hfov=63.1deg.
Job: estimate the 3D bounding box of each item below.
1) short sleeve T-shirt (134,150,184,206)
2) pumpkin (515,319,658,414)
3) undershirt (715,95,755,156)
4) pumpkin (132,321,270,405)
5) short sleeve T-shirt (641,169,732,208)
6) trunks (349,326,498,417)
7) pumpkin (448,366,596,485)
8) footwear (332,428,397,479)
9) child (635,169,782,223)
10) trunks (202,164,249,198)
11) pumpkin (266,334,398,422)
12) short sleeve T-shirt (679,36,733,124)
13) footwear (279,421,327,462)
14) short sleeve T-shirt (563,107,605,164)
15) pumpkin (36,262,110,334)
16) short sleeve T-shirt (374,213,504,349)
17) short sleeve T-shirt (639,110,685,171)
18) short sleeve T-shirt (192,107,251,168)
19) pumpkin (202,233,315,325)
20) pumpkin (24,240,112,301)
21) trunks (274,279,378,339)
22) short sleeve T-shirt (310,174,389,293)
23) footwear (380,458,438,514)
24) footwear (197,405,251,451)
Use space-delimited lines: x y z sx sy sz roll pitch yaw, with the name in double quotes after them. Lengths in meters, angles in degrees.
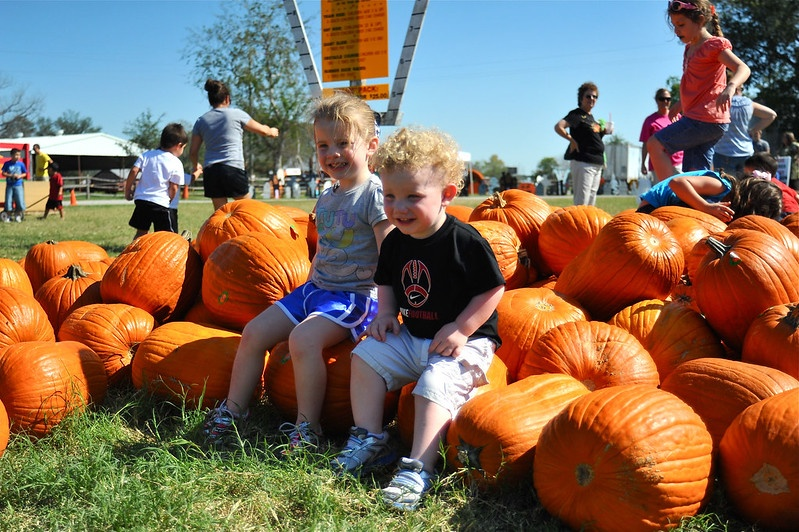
-3.151 -1.143 8.531 0.597 0.755 0.356 1 6 -25 "short sleeve T-shirt"
1.225 0.601 4.151 0.500 0.297 0.544 23 -26 -12 "pumpkin"
5.003 -2.112 9.460 0.537 0.802 0.445 7 14 40 "undershirt"
-1.449 0.567 4.563 0.677 0.637 0.523 4 8 4 "pumpkin"
2.674 -0.685 6.085 0.485 0.200 0.369 -5 3 32 "short sleeve T-shirt"
0.218 0.596 3.918 0.553 0.277 0.518 2 11 -40 "trunks"
0.714 0.888 3.774 0.778 0.457 0.379 -21 -21 -32 "pumpkin"
-0.238 1.120 3.883 0.186 0.283 0.524 -14 -8 40 "footwear"
2.799 -0.648 5.866 0.905 0.363 0.690 12 -3 44 "child"
-2.334 -1.163 8.645 0.631 0.513 0.447 -4 22 -11 "trunks"
-0.492 0.864 4.439 0.524 0.649 0.608 -13 -14 21 "pumpkin"
3.111 -1.895 6.643 0.494 0.853 0.518 7 7 28 "short sleeve T-shirt"
-0.608 1.084 3.992 0.268 0.197 0.602 3 6 -10 "footwear"
2.736 -1.878 9.632 0.877 0.900 0.559 1 0 -42 "short sleeve T-shirt"
-2.728 0.224 5.503 0.540 0.547 0.547 -17 14 -28 "pumpkin"
0.184 0.137 4.137 0.852 0.770 0.453 -2 -5 30 "short sleeve T-shirt"
4.171 -1.963 10.264 0.747 0.963 0.490 3 2 22 "short sleeve T-shirt"
-2.344 -1.658 8.621 0.792 0.849 0.422 -4 9 -4 "short sleeve T-shirt"
-1.120 0.151 5.211 0.631 0.761 0.729 14 -21 6 "pumpkin"
-3.144 -0.051 6.089 0.638 0.406 0.621 0 9 -34 "pumpkin"
-0.464 0.270 4.309 0.415 0.208 0.412 15 14 35 "trunks"
-0.314 -0.195 4.353 0.705 0.885 0.429 0 -4 35 "short sleeve T-shirt"
0.039 1.207 3.590 0.216 0.230 0.260 7 7 26 "footwear"
-1.124 1.036 4.173 0.150 0.208 0.442 5 0 8 "footwear"
